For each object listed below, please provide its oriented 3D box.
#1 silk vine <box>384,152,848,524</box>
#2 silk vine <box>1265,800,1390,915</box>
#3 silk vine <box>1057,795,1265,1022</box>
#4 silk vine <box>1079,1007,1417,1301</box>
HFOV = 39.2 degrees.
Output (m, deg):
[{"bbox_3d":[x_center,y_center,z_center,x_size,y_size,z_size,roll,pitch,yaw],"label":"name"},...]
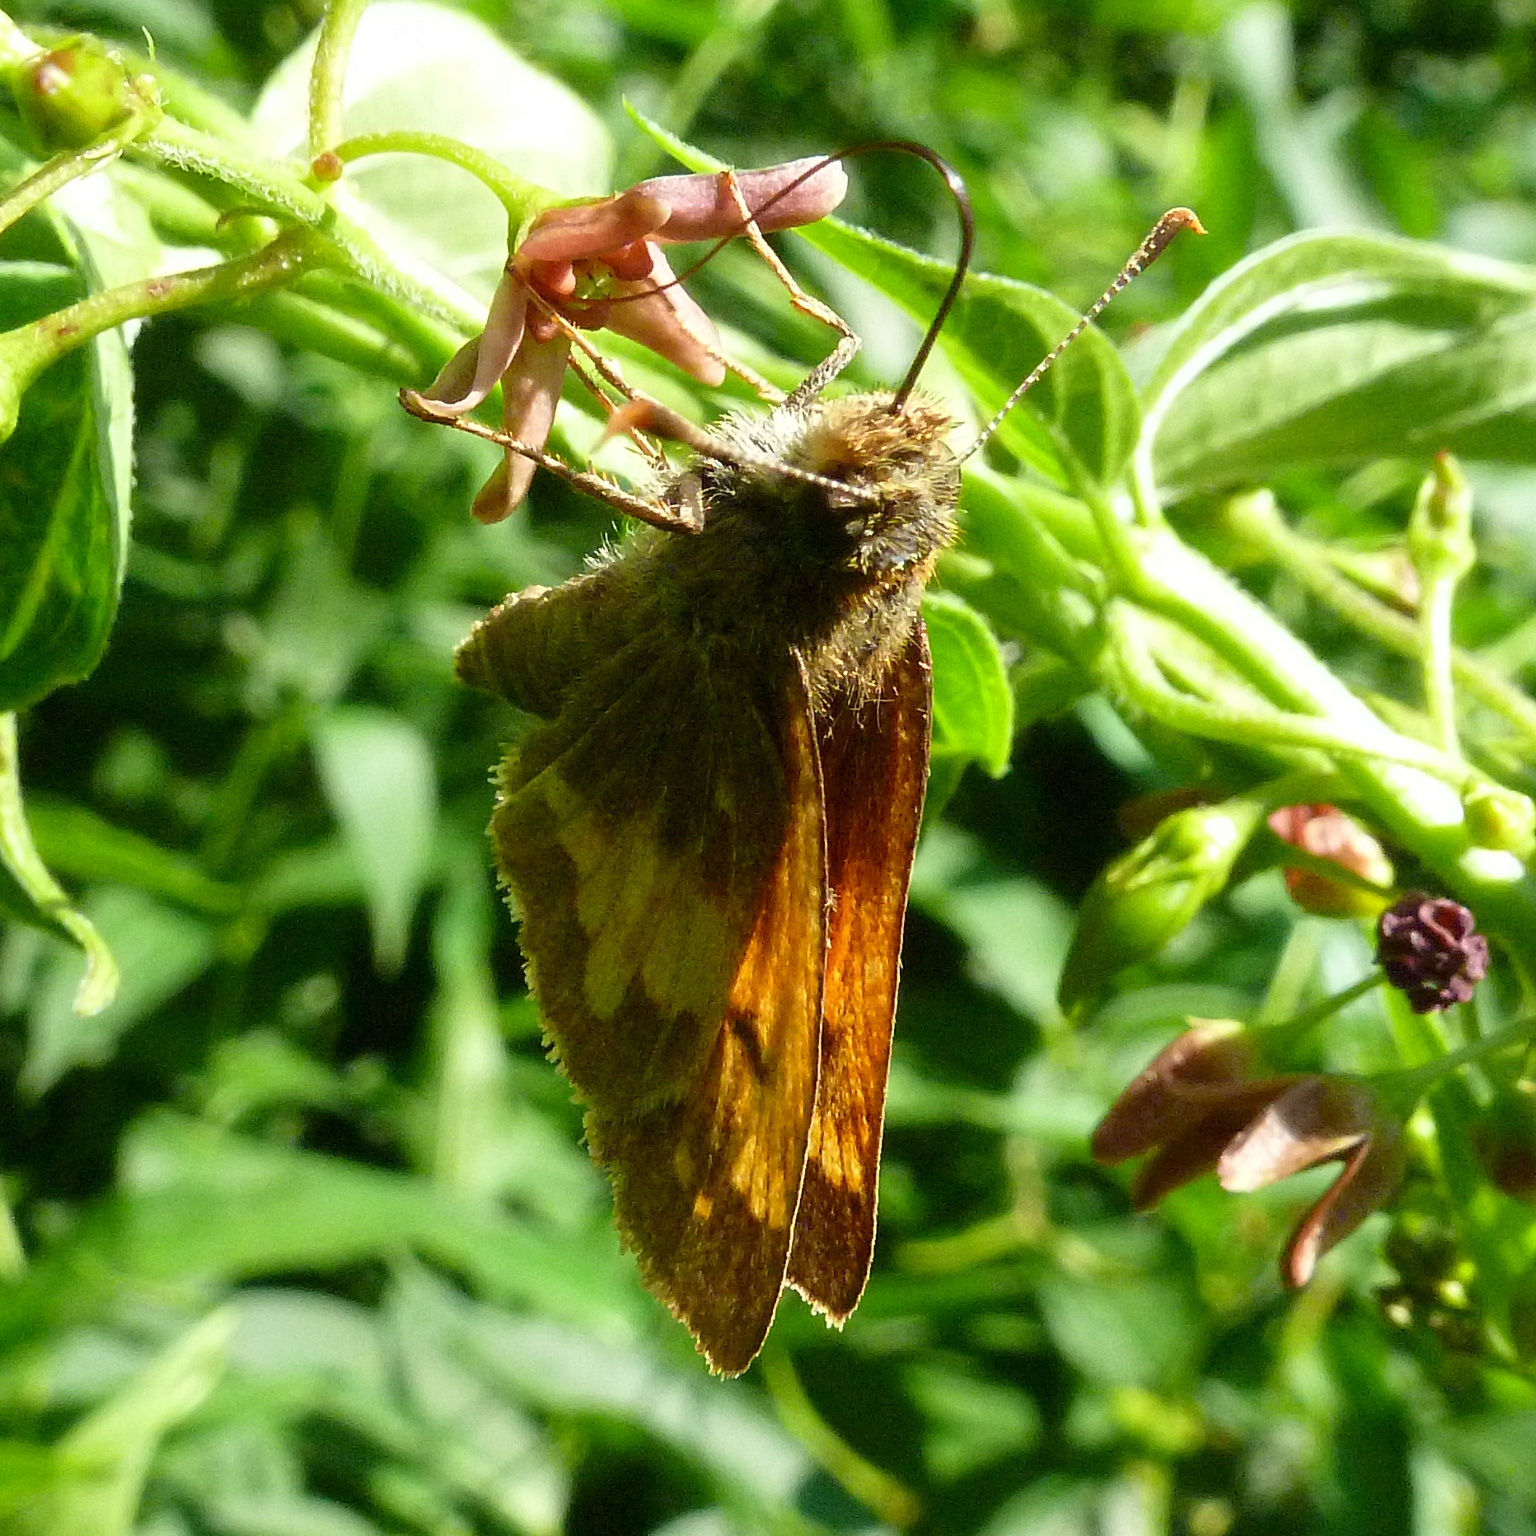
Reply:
[{"bbox_3d":[-0.094,-0.319,1.519,0.187,0.288,0.338,26,35,3],"label":"silk vine"},{"bbox_3d":[0.416,0.068,1.629,0.077,0.101,0.063,-12,20,-22],"label":"silk vine"},{"bbox_3d":[0.278,0.087,1.533,0.078,0.174,0.089,-1,14,-6],"label":"silk vine"},{"bbox_3d":[0.367,0.267,1.519,0.250,0.075,0.202,-4,33,-23],"label":"silk vine"}]
